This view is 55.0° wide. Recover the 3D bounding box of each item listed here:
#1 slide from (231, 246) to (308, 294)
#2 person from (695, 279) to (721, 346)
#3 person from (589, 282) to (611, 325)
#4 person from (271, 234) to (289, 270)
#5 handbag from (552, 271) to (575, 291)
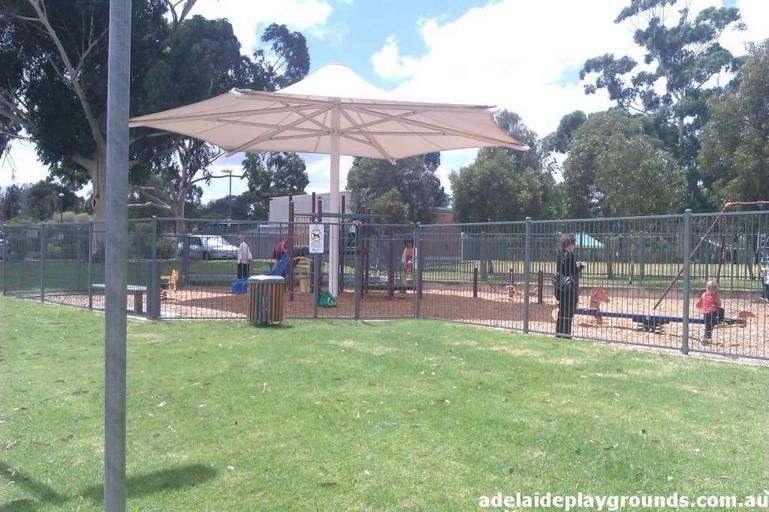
[{"bbox_3d":[-3.608,0.564,23.845,2.813,1.670,1.057,-5,-3,13],"label":"slide"},{"bbox_3d":[8.004,1.433,18.247,0.615,1.522,0.994,2,1,29],"label":"person"},{"bbox_3d":[5.577,1.272,19.224,0.506,0.917,0.469,2,1,17],"label":"person"},{"bbox_3d":[-3.244,-0.012,22.961,0.432,0.665,1.381,2,1,-7],"label":"person"},{"bbox_3d":[4.616,0.642,19.032,0.384,0.243,0.651,4,-9,-1],"label":"handbag"}]
